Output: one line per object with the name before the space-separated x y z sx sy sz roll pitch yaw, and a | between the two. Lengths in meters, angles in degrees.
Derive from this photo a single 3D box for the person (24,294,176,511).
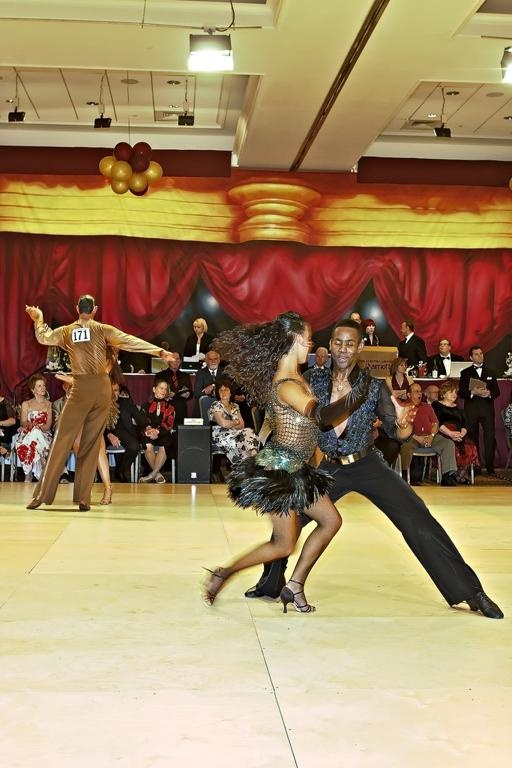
person | -1.743 0.183 5.854 1.181 2.198 0.434 0 -6 7

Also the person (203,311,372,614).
person | 0.057 0.373 2.669 0.597 1.416 0.425 -2 -7 22

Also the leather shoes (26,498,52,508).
leather shoes | -2.204 1.221 5.781 0.305 0.110 0.106 1 -5 -22

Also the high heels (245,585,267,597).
high heels | -0.002 1.081 2.927 0.047 0.049 0.135 1 3 -36

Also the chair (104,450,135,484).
chair | -1.918 1.196 8.234 0.251 0.496 0.773 4 -22 -14

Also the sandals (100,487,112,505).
sandals | -1.611 1.246 6.211 0.087 0.106 0.262 0 -9 -2
